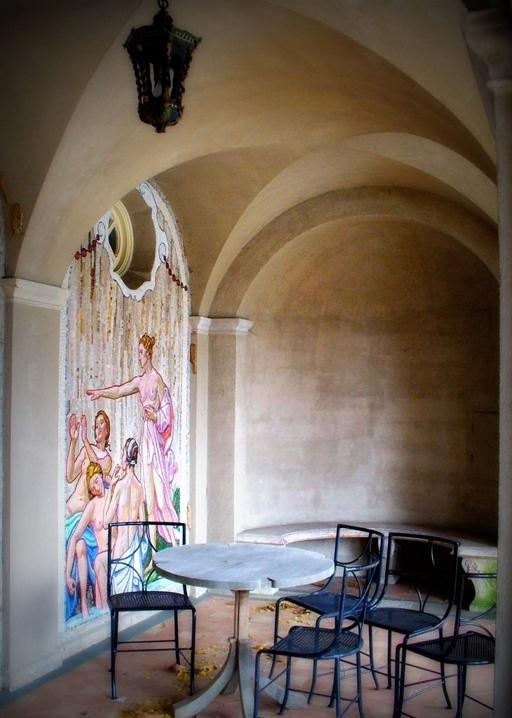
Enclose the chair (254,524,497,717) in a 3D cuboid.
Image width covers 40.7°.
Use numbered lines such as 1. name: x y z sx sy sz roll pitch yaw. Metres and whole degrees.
1. chair: 0.814 1.745 4.593 0.574 1.023 1.458 4 -5 -32
